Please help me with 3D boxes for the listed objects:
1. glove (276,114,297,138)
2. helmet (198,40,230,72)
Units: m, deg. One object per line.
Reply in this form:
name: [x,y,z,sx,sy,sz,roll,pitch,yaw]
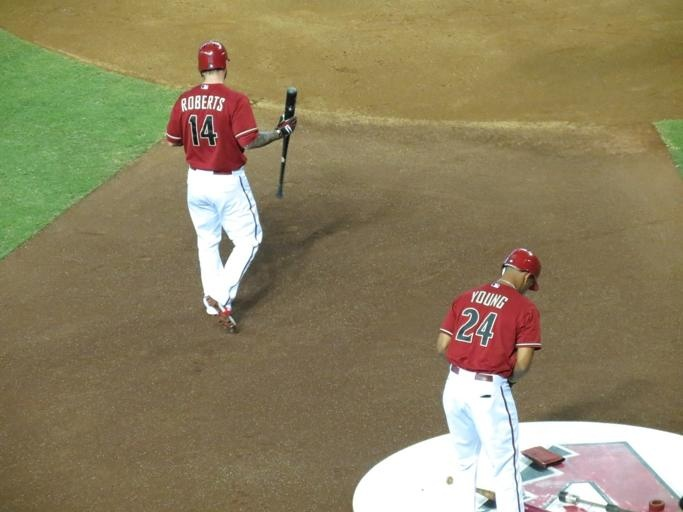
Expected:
glove: [-0.743,-1.677,14.914,0.294,0.085,0.289,-38,63,-18]
helmet: [-1.658,-2.514,14.236,0.337,0.335,0.400,-2,43,-1]
